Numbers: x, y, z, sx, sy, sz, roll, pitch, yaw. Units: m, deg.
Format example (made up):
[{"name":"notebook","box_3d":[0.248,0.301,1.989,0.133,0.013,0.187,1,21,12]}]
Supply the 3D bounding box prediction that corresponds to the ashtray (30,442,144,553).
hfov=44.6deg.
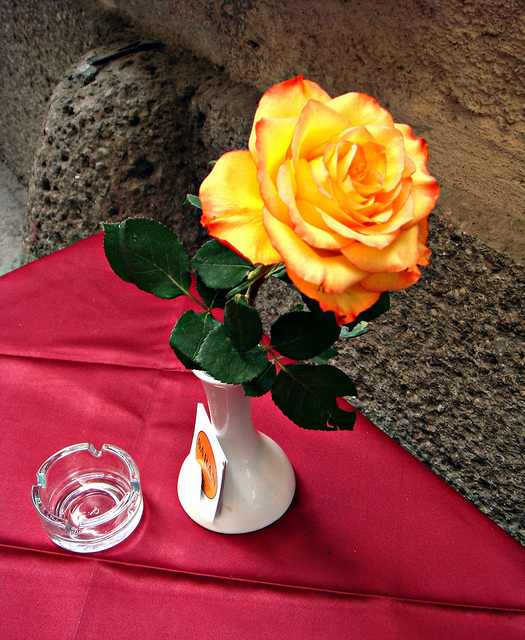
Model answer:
[{"name":"ashtray","box_3d":[-0.186,0.188,0.685,0.110,0.041,0.098,11,39,14]}]

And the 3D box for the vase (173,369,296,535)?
[{"name":"vase","box_3d":[-0.028,0.144,0.656,0.118,0.167,0.109,-4,48,-1]}]

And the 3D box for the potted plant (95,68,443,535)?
[{"name":"potted plant","box_3d":[0.014,0.020,0.561,0.317,0.396,0.220,-8,39,-12]}]
